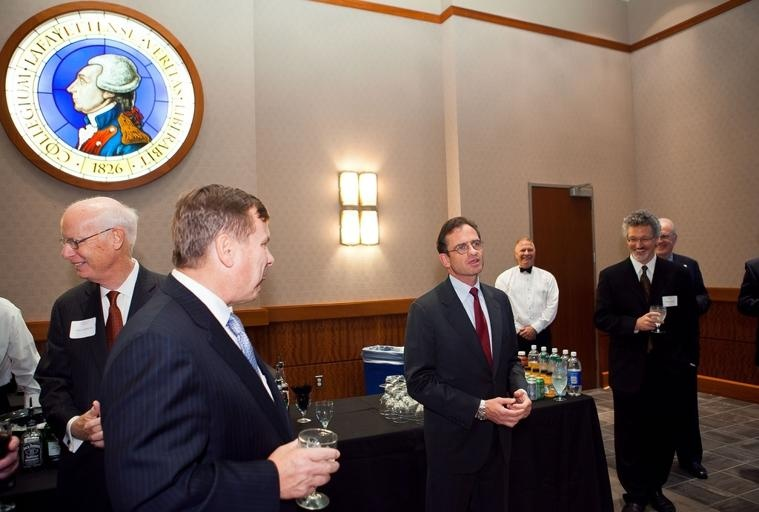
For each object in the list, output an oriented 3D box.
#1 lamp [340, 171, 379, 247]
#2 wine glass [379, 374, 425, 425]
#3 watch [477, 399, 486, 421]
[{"bbox_3d":[-0.246,-0.567,6.784,0.492,0.896,0.165,-1,2,-9],"label":"lamp"},{"bbox_3d":[0.159,1.092,4.350,0.307,0.289,0.300,2,-2,-39],"label":"wine glass"},{"bbox_3d":[0.668,1.009,3.647,0.067,0.110,0.103,2,-42,11],"label":"watch"}]
